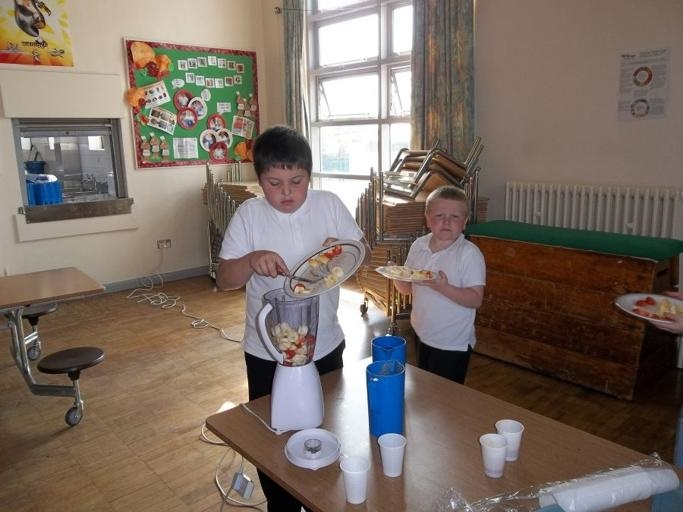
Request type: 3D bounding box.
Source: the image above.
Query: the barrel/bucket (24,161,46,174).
[{"bbox_3d":[-3.278,-0.918,4.985,0.131,0.130,0.182,4,7,39],"label":"barrel/bucket"}]

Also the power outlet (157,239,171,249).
[{"bbox_3d":[-2.222,-0.151,5.816,0.155,0.104,0.035,-4,11,-37],"label":"power outlet"}]

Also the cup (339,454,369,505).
[{"bbox_3d":[0.038,0.592,1.275,0.103,0.112,0.101,-1,7,0],"label":"cup"}]

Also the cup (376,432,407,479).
[{"bbox_3d":[0.134,0.550,1.324,0.103,0.103,0.104,0,5,0],"label":"cup"}]

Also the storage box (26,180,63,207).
[{"bbox_3d":[-3.218,-0.673,5.050,0.283,0.284,0.272,4,4,32],"label":"storage box"}]

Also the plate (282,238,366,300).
[{"bbox_3d":[-0.065,0.043,1.604,0.200,0.125,0.344,10,20,38],"label":"plate"}]

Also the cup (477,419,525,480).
[{"bbox_3d":[0.452,0.541,1.356,0.153,0.100,0.102,-17,22,-42],"label":"cup"}]

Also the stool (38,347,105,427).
[{"bbox_3d":[-1.822,0.896,3.142,0.383,0.440,0.411,1,9,34],"label":"stool"}]

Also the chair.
[{"bbox_3d":[0.804,-0.666,4.098,0.775,0.336,0.590,-20,20,-26],"label":"chair"}]
